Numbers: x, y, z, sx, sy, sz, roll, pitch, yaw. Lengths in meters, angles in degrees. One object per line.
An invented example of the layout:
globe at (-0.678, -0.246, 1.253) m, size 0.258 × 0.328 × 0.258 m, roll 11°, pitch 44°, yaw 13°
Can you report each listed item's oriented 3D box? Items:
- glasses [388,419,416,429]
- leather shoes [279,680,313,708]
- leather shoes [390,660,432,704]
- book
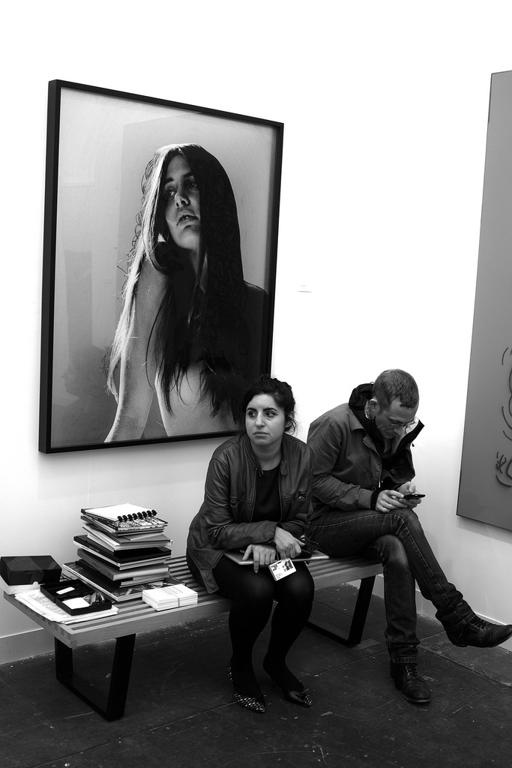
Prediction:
glasses at (0.536, 0.152, 2.267) m, size 0.064 × 0.022 × 0.067 m, roll -2°, pitch 1°, yaw -25°
leather shoes at (0.128, 0.995, 1.931) m, size 0.047 × 0.054 × 0.129 m, roll -1°, pitch 12°, yaw -33°
leather shoes at (0.524, 1.022, 2.098) m, size 0.082 × 0.105 × 0.230 m, roll 4°, pitch -5°, yaw -16°
book at (-0.409, 0.581, 2.016) m, size 0.270 × 0.162 × 0.368 m, roll 7°, pitch 9°, yaw -45°
